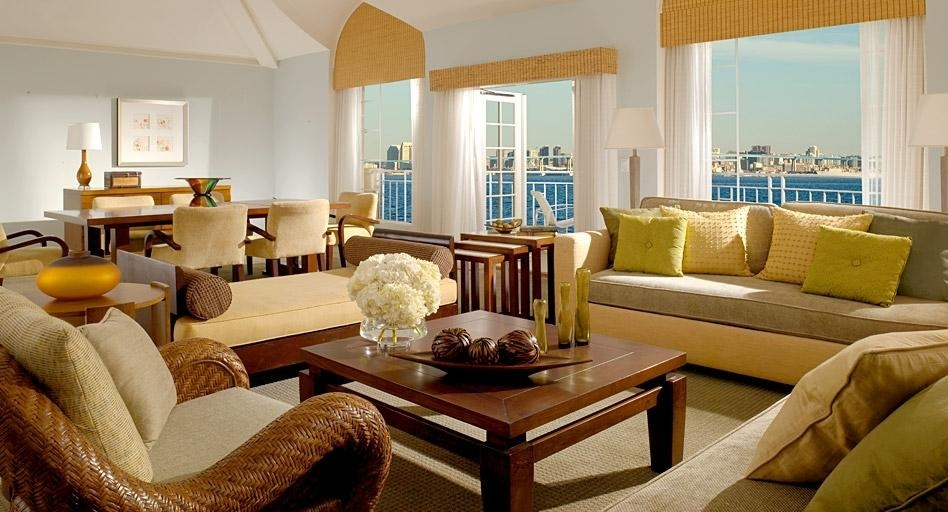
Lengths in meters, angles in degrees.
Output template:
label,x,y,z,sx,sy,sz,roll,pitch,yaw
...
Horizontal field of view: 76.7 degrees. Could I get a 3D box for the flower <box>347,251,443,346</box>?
label,x,y,z,sx,sy,sz,roll,pitch,yaw
flower,-0.460,0.262,3.712,0.617,0.540,0.569,1,7,-6

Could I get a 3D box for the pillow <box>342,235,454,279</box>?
label,x,y,z,sx,sy,sz,roll,pitch,yaw
pillow,-0.647,-0.031,5.277,1.193,0.315,0.303,3,17,30

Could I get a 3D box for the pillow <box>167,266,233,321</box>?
label,x,y,z,sx,sy,sz,roll,pitch,yaw
pillow,-1.938,0.259,4.217,0.387,0.294,0.369,0,3,-32

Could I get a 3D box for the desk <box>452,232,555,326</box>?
label,x,y,z,sx,sy,sz,roll,pitch,yaw
desk,0.448,0.145,5.730,0.934,0.823,0.859,6,8,43

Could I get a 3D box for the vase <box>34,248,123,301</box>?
label,x,y,z,sx,sy,sz,roll,pitch,yaw
vase,-2.530,0.127,3.823,0.505,0.294,0.483,1,15,-24

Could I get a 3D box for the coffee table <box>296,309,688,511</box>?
label,x,y,z,sx,sy,sz,roll,pitch,yaw
coffee table,0.352,0.777,3.416,1.300,0.508,1.371,7,10,43

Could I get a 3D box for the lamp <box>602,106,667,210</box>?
label,x,y,z,sx,sy,sz,roll,pitch,yaw
lamp,1.630,-0.856,6.033,0.611,1.086,0.554,-3,13,5

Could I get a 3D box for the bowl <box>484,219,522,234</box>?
label,x,y,z,sx,sy,sz,roll,pitch,yaw
bowl,0.314,-0.300,6.127,0.329,0.095,0.305,0,2,0
